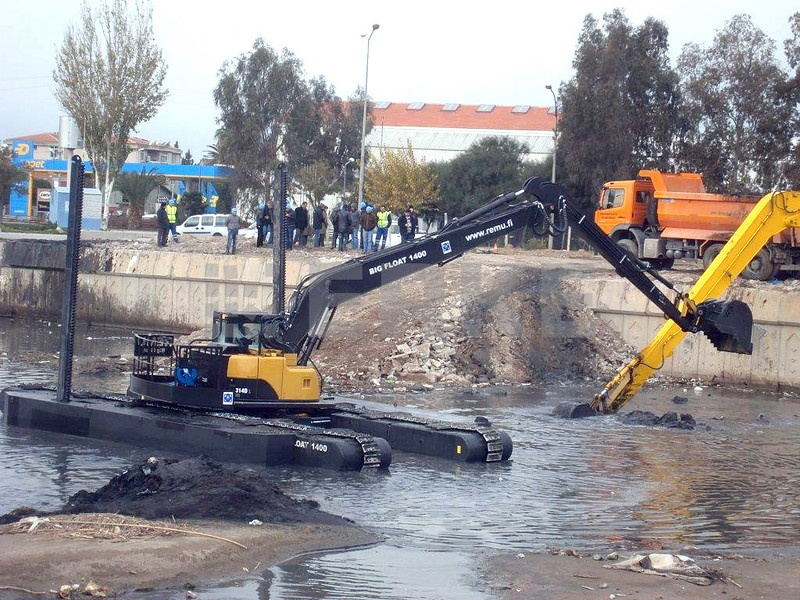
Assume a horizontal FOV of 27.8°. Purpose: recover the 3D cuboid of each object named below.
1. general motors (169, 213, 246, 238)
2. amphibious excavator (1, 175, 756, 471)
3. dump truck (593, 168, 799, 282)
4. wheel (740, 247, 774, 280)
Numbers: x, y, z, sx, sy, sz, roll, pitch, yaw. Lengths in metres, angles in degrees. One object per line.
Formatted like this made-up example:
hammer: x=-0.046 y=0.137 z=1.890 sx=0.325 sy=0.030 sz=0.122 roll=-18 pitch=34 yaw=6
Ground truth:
general motors: x=-8.435 y=-2.926 z=71.845 sx=3.151 sy=1.215 sz=1.587 roll=4 pitch=4 yaw=14
amphibious excavator: x=0.800 y=0.624 z=43.673 sx=22.065 sy=10.214 sz=6.281 roll=1 pitch=2 yaw=13
dump truck: x=10.754 y=-2.693 z=55.345 sx=2.995 sy=3.913 sz=8.055 roll=-2 pitch=6 yaw=-42
wheel: x=11.165 y=-1.139 z=49.956 sx=0.332 sy=1.011 sz=0.964 roll=0 pitch=3 yaw=-27
